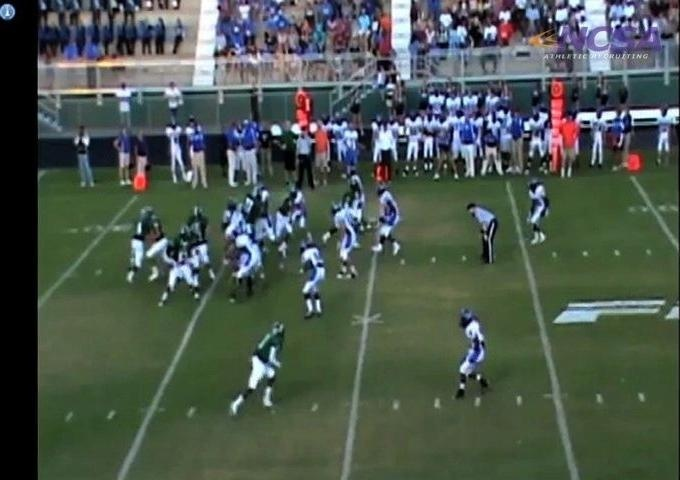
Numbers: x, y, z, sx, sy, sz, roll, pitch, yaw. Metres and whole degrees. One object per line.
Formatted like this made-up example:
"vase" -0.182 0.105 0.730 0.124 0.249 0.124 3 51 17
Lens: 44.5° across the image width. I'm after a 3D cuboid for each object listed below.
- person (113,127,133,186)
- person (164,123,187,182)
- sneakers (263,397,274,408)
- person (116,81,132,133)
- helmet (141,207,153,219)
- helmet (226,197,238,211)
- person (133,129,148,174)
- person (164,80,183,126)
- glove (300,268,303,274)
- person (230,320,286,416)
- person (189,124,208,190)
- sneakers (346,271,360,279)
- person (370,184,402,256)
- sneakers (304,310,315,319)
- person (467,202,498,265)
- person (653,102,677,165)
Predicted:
"person" -6.456 -2.465 24.729 0.482 1.612 2.053 -5 11 -15
"person" -4.913 -2.661 24.876 0.488 1.777 2.716 -4 11 -10
"sneakers" -1.328 2.967 15.190 0.223 0.221 0.331 7 -15 4
"person" -7.354 -4.567 28.306 0.523 1.527 1.265 -5 11 -15
"helmet" -4.417 -0.624 18.948 0.210 0.330 0.280 15 3 -5
"helmet" -2.349 -0.799 18.084 0.221 0.248 0.441 -4 11 -8
"person" -5.701 -2.445 23.718 0.373 1.541 0.283 -4 29 -20
"person" -5.596 -4.611 27.924 0.528 1.642 0.499 -13 46 -20
"glove" -0.867 0.684 18.456 0.083 0.068 0.162 -3 -34 -2
"person" -1.398 2.207 14.637 0.859 1.773 0.550 5 19 -43
"person" -3.964 -2.365 23.245 0.449 1.649 0.480 -2 1 -10
"sneakers" 0.287 0.821 19.201 0.197 0.116 0.114 2 6 38
"person" 1.114 -0.419 20.424 0.687 1.812 0.740 9 40 18
"sneakers" -0.692 1.586 17.832 0.117 0.120 0.235 -7 8 -41
"person" 3.312 -0.199 19.244 0.597 1.710 2.395 -1 11 11
"person" 9.728 -3.106 24.775 0.577 1.679 3.452 1 12 21
